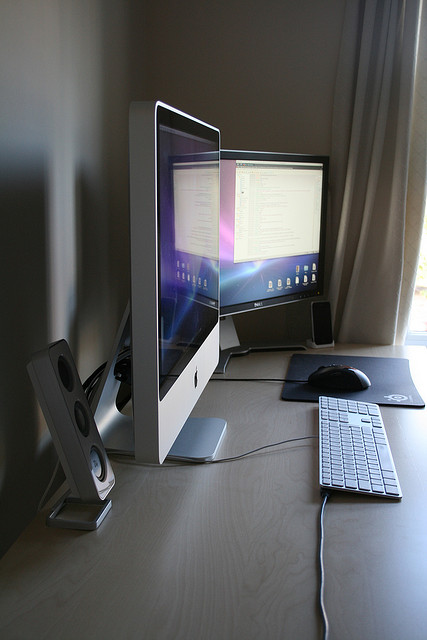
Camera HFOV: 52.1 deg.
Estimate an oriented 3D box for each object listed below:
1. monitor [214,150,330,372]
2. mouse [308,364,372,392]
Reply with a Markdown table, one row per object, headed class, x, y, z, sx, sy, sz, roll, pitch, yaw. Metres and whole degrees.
| class | x | y | z | sx | sy | sz | roll | pitch | yaw |
| --- | --- | --- | --- | --- | --- | --- | --- | --- | --- |
| monitor | 0.179 | -0.191 | 1.278 | 0.132 | 0.586 | 0.450 | 6 | 12 | 37 |
| mouse | 0.289 | 0.139 | 1.022 | 0.094 | 0.047 | 0.072 | -3 | 16 | 10 |
